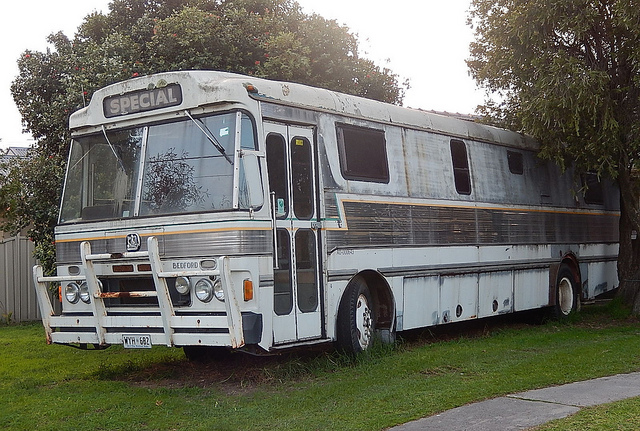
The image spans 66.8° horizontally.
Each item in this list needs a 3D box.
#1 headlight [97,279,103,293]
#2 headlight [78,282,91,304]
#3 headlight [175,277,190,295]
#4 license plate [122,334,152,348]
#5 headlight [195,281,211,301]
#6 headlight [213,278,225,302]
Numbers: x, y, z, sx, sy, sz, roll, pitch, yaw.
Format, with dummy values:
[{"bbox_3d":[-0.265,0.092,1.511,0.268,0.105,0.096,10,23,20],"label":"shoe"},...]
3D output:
[{"bbox_3d":[-3.760,1.186,8.338,0.049,0.209,0.097,-3,-4,31],"label":"headlight"},{"bbox_3d":[-4.094,1.335,8.487,0.127,0.374,0.353,1,-5,-42],"label":"headlight"},{"bbox_3d":[-2.214,1.117,7.814,0.273,0.285,0.083,-3,-4,30],"label":"headlight"},{"bbox_3d":[-2.987,2.029,7.922,0.577,0.223,0.048,-3,-3,20],"label":"license plate"},{"bbox_3d":[-1.850,1.163,7.688,0.252,0.278,0.265,6,1,-3],"label":"headlight"},{"bbox_3d":[-1.566,1.142,7.538,0.099,0.360,0.286,1,-4,-37],"label":"headlight"}]
